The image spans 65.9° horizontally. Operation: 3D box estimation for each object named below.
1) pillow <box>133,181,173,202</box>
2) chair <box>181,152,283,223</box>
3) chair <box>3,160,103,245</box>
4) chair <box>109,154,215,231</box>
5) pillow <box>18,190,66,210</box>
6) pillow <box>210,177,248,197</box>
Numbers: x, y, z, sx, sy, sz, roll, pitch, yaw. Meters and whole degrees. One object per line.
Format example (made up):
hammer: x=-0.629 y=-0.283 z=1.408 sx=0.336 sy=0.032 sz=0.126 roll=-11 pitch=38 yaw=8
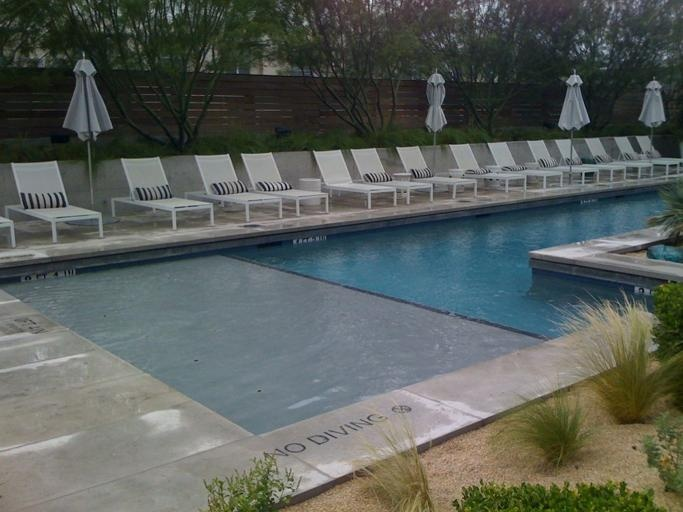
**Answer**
pillow: x=-3.563 y=-1.193 z=9.959 sx=0.718 sy=0.273 sz=0.532 roll=-8 pitch=13 yaw=-30
chair: x=-2.062 y=-1.479 z=10.832 sx=2.289 sy=1.287 sz=1.337 roll=15 pitch=20 yaw=41
chair: x=-4.976 y=-0.969 z=8.951 sx=1.113 sy=1.234 sz=2.369 roll=-10 pitch=14 yaw=-35
chair: x=-3.593 y=-1.292 z=10.007 sx=2.982 sy=1.322 sz=1.102 roll=13 pitch=19 yaw=40
pillow: x=-5.052 y=-0.943 z=8.961 sx=0.469 sy=0.136 sz=0.456 roll=-10 pitch=23 yaw=-41
pillow: x=-2.231 y=-1.337 z=10.468 sx=0.687 sy=0.237 sz=0.475 roll=-4 pitch=12 yaw=-12
